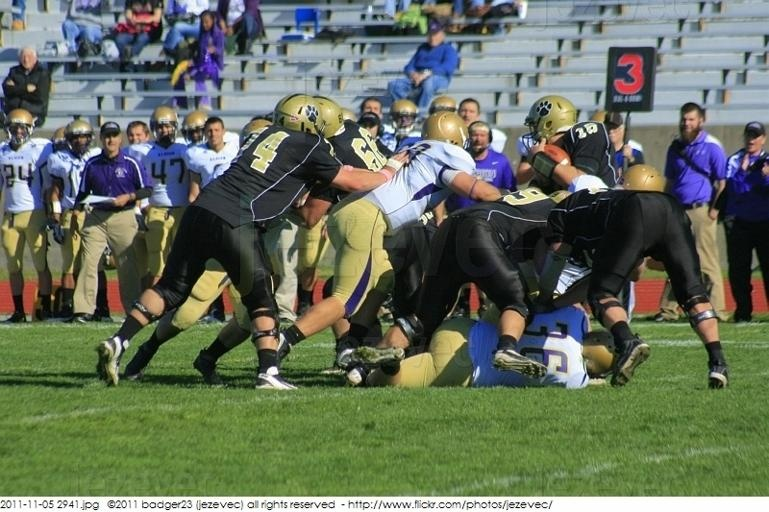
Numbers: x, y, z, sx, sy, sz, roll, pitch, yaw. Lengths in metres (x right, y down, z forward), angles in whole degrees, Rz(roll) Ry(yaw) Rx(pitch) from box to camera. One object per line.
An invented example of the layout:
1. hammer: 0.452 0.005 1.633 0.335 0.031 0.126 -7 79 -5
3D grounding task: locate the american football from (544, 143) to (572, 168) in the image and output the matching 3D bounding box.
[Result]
1. american football: 1.800 -1.070 12.659 0.258 0.103 0.196 34 17 1

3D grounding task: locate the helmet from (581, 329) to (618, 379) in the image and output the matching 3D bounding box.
1. helmet: 2.062 0.950 11.708 0.304 0.369 0.399 -9 6 4

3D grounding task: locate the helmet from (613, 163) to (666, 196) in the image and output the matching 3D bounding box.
1. helmet: 2.510 -0.767 11.800 0.379 0.249 0.419 6 5 9

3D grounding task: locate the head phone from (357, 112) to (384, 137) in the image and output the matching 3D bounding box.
1. head phone: -0.156 -1.800 16.552 0.259 0.167 0.436 5 -11 21

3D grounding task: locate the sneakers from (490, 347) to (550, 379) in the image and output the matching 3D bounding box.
1. sneakers: 1.254 0.986 11.401 0.559 0.222 0.283 15 24 5

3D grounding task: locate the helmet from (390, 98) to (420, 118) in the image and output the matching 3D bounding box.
1. helmet: 0.248 -1.986 16.199 0.265 0.209 0.265 -1 10 -20

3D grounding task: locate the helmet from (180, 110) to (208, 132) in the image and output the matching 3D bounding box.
1. helmet: -2.483 -1.779 16.242 0.250 0.276 0.328 1 34 21

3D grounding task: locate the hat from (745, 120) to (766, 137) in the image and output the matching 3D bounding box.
1. hat: 4.877 -1.685 16.063 0.228 0.212 0.360 0 -7 22

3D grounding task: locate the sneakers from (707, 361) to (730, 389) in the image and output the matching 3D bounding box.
1. sneakers: 3.183 1.141 11.564 0.220 0.242 0.150 4 4 -5

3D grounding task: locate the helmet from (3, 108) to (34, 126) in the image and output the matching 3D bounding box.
1. helmet: -4.923 -1.892 16.578 0.235 0.250 0.300 1 16 -2

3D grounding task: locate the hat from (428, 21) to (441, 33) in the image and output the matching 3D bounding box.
1. hat: 0.849 -3.729 19.728 0.146 0.195 0.299 7 -2 -17

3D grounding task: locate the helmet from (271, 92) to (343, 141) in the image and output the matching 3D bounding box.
1. helmet: -0.752 -1.410 12.085 0.583 0.461 0.409 33 -7 -39

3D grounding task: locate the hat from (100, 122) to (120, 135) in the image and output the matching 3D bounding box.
1. hat: -3.587 -1.689 16.069 0.216 0.162 0.300 -3 -11 -16

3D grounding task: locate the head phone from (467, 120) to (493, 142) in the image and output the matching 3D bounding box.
1. head phone: 1.213 -1.609 15.280 0.266 0.329 0.180 3 4 6

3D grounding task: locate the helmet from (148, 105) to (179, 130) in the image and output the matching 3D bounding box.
1. helmet: -2.953 -1.959 16.560 0.365 0.447 0.439 -1 -7 -6

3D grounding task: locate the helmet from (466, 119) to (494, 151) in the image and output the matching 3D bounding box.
1. helmet: 1.195 -1.528 15.328 0.303 0.384 0.390 1 2 1
